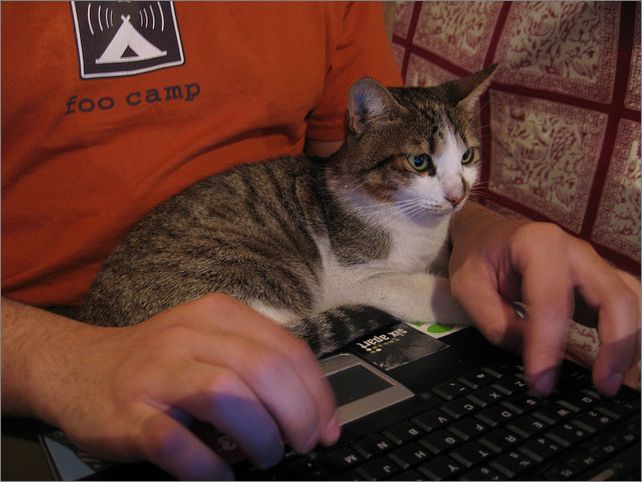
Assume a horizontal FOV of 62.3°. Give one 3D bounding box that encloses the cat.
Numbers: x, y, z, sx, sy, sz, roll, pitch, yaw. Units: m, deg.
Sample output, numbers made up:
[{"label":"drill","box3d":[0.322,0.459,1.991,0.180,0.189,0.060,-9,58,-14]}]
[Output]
[{"label":"cat","box3d":[-0.015,-0.110,1.289,1.022,0.565,0.546,1,23,-5]}]
